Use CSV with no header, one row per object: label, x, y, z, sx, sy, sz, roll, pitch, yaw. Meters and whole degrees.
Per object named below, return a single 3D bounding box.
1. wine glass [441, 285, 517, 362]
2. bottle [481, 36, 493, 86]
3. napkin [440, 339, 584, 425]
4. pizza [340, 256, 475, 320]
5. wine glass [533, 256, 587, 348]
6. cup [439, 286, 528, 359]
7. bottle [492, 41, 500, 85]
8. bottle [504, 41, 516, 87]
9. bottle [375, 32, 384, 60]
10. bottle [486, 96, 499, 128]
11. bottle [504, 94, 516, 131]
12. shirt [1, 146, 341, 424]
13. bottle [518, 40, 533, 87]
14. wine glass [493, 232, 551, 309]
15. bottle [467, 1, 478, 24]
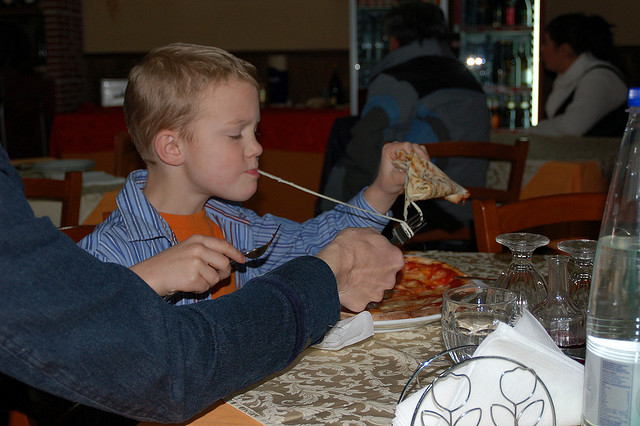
wine glass,0.243,0.190,0.987,0.105,0.117,0.104,-6,22,-40
bottle,1.220,-1.115,4.202,0.083,0.354,0.154,2,10,16
napkin,0.269,0.242,0.795,0.148,0.147,0.036,31,4,-3
pizza,0.228,0.146,1.304,0.176,0.177,0.024,-26,34,41
wine glass,0.417,0.149,1.004,0.084,0.148,0.111,3,10,20
cup,0.266,0.190,1.011,0.136,0.148,0.150,-2,9,3
bottle,1.287,-1.110,4.215,0.045,0.310,0.154,2,10,16
bottle,1.385,-1.094,4.196,0.081,0.335,0.202,2,10,15
bottle,0.395,-1.123,3.841,0.059,0.171,0.050,1,10,9
bottle,1.251,-0.741,4.168,0.088,0.227,0.192,2,10,16
bottle,1.387,-0.756,4.218,0.075,0.233,0.153,4,11,26
shirt,-0.189,0.093,0.811,0.461,0.381,0.133,-7,12,-35
bottle,1.477,-1.088,4.151,0.095,0.343,0.190,1,10,6
wine glass,0.381,0.122,1.092,0.101,0.139,0.098,0,10,6
bottle,1.080,-1.434,4.085,0.072,0.156,0.021,1,11,11
